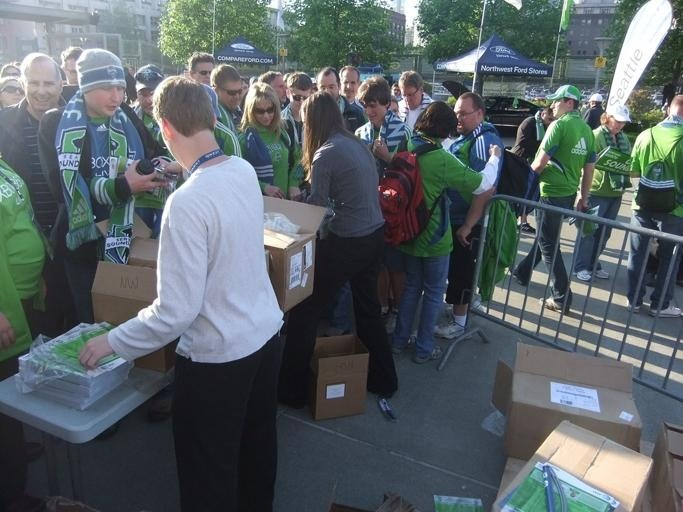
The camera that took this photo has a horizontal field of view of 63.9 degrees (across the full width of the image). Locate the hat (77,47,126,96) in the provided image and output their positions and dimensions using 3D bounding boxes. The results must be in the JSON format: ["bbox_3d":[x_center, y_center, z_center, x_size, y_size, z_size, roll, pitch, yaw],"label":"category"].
[{"bbox_3d":[-1.554,-1.215,3.585,0.275,0.262,0.280,-1,31,-23],"label":"hat"}]

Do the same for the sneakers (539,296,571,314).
[{"bbox_3d":[2.138,0.499,5.490,0.111,0.151,0.299,4,16,-42],"label":"sneakers"}]

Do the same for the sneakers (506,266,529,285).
[{"bbox_3d":[1.918,0.217,5.965,0.081,0.192,0.260,1,30,-18],"label":"sneakers"}]

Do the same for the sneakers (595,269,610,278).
[{"bbox_3d":[3.059,0.206,6.461,0.082,0.072,0.163,-3,4,-27],"label":"sneakers"}]

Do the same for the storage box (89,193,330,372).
[{"bbox_3d":[-0.721,0.095,3.161,0.962,0.523,1.003,-4,20,-25],"label":"storage box"}]

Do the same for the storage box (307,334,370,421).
[{"bbox_3d":[-0.038,0.915,4.137,0.389,0.514,0.407,2,16,-1],"label":"storage box"}]

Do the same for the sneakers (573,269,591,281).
[{"bbox_3d":[2.765,0.226,6.341,0.121,0.139,0.299,-1,0,-17],"label":"sneakers"}]

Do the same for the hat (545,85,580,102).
[{"bbox_3d":[2.351,-1.777,5.958,0.378,0.212,0.272,13,24,33],"label":"hat"}]
